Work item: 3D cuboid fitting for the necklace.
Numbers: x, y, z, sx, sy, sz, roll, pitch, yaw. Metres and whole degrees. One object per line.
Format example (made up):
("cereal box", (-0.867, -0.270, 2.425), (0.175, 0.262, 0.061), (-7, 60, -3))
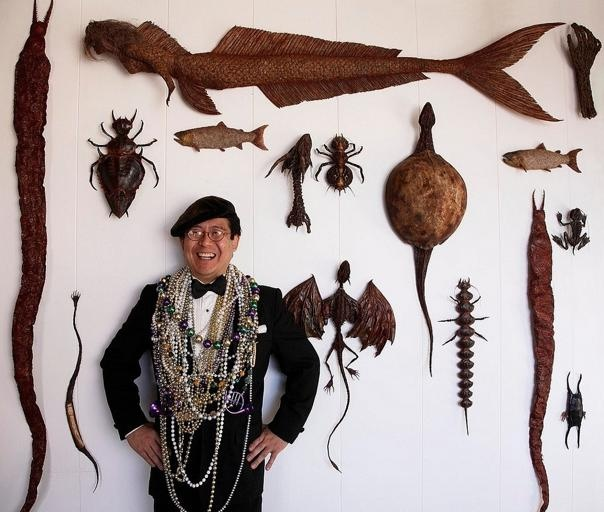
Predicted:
("necklace", (-0.427, 0.528, 3.798), (0.441, 1.024, 0.188), (3, -14, 12))

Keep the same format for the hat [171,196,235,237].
("hat", (-0.403, -0.171, 3.813), (0.197, 0.097, 0.172), (-35, 7, -26))

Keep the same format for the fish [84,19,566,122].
("fish", (0.002, -0.832, 4.066), (1.264, 0.399, 0.396), (0, -1, -1))
